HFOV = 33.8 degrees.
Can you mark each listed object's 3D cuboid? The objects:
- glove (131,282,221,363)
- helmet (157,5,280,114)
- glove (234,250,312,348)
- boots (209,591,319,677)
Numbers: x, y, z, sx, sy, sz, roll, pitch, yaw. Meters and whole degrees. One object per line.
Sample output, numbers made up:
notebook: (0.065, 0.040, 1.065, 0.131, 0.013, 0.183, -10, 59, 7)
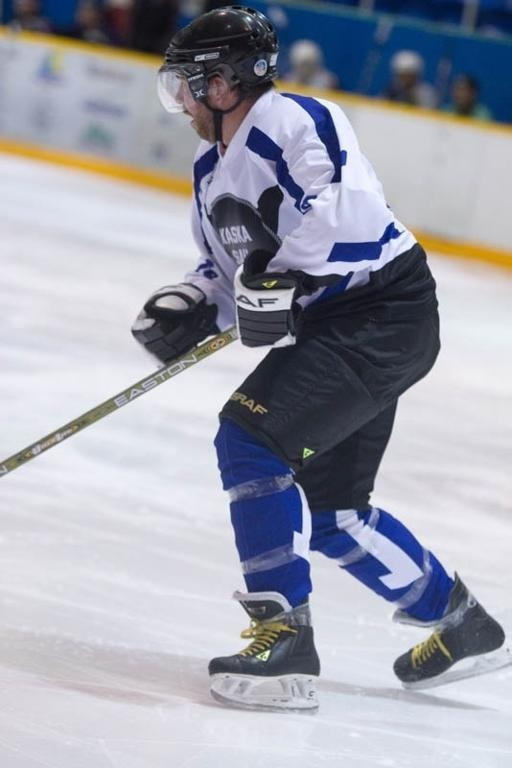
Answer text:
glove: (-0.197, -0.150, 1.923, 0.205, 0.137, 0.170, -27, 16, -14)
helmet: (-0.080, -0.642, 1.700, 0.280, 0.198, 0.200, 4, 15, 7)
glove: (0.010, -0.134, 1.529, 0.132, 0.125, 0.155, -3, 16, 15)
boots: (0.004, 0.431, 1.443, 0.232, 0.137, 0.096, 14, -19, -35)
